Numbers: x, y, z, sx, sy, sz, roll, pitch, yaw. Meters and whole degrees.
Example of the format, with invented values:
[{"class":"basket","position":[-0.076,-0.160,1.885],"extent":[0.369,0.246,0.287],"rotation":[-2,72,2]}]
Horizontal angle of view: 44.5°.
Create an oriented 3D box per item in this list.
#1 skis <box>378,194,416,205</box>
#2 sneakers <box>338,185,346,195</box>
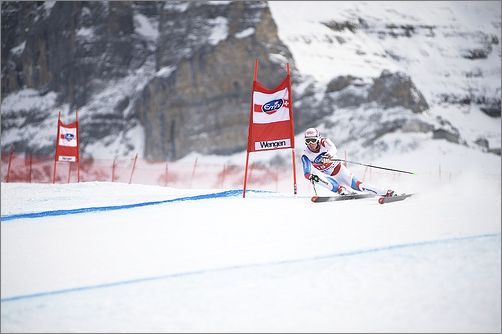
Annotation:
[{"class":"skis","position":[5.754,1.250,24.244],"extent":[1.569,0.201,0.183],"rotation":[-8,12,-25]},{"class":"sneakers","position":[3.694,0.932,24.704],"extent":[0.213,0.141,0.348],"rotation":[-9,50,-4]}]
